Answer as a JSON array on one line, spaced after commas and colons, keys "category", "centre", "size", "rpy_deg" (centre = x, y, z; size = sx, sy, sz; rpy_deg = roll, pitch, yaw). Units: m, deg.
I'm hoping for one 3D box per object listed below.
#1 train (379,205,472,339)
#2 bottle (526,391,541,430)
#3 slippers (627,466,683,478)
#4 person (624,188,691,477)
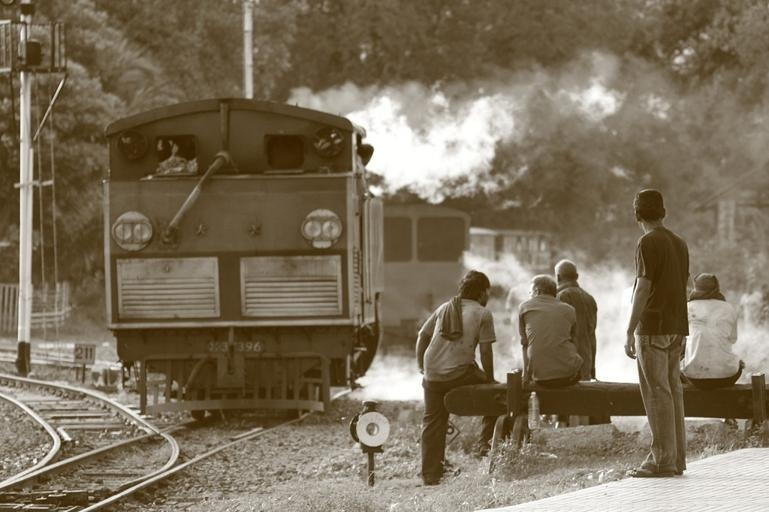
[{"category": "train", "centre": [0.770, -0.014, 29.609], "size": [2.384, 3.011, 4.070], "rpy_deg": [1, -1, 5]}, {"category": "bottle", "centre": [2.333, 2.404, 18.866], "size": [0.174, 0.574, 0.244], "rpy_deg": [0, -6, 9]}, {"category": "slippers", "centre": [3.847, 3.130, 17.403], "size": [0.690, 0.213, 0.260], "rpy_deg": [2, -6, 7]}, {"category": "person", "centre": [3.950, 1.102, 17.472], "size": [0.916, 4.135, 0.375], "rpy_deg": [2, -6, -10]}]
